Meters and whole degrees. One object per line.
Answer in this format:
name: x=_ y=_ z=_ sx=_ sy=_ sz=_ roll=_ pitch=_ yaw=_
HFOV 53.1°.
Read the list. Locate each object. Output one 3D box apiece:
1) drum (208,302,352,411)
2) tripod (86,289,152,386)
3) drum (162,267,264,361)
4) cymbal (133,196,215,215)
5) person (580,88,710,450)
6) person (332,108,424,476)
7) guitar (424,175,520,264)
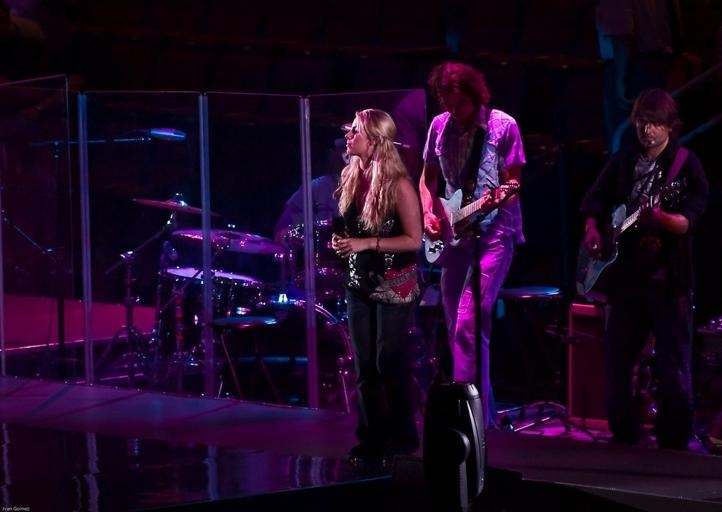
drum: x=-0.506 y=0.772 z=5.645 sx=0.896 sy=0.886 sz=0.918 roll=-10 pitch=-10 yaw=37
tripod: x=-2.076 y=0.676 z=6.180 sx=0.423 sy=0.797 sz=0.703 roll=-4 pitch=9 yaw=-20
drum: x=-1.323 y=0.460 z=6.174 sx=0.801 sy=0.575 sz=0.804 roll=1 pitch=0 yaw=0
cymbal: x=-1.562 y=-0.420 z=5.911 sx=0.342 sy=0.068 sz=0.338 roll=16 pitch=11 yaw=16
person: x=1.753 y=0.071 z=4.550 sx=0.736 sy=2.218 sz=0.427 roll=3 pitch=10 yaw=26
person: x=0.103 y=0.166 z=4.399 sx=0.538 sy=2.103 sz=0.459 roll=0 pitch=9 yaw=3
guitar: x=0.707 y=-0.223 z=4.744 sx=0.634 sy=0.570 sz=0.325 roll=6 pitch=11 yaw=40
